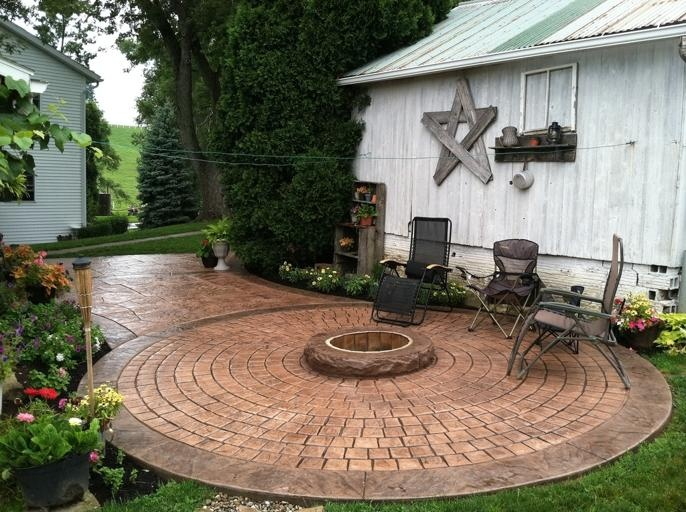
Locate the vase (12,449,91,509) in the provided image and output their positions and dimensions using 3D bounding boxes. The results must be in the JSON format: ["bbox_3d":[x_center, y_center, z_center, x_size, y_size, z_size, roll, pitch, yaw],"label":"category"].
[{"bbox_3d":[-2.154,1.602,3.788,0.430,0.279,0.426,-2,0,-44],"label":"vase"}]

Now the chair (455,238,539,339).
[{"bbox_3d":[2.477,0.417,7.620,1.063,1.295,1.114,-3,6,-34],"label":"chair"}]

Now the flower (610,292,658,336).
[{"bbox_3d":[3.809,0.726,6.555,0.543,0.396,0.526,3,18,6],"label":"flower"}]

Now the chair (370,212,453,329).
[{"bbox_3d":[1.142,0.201,8.486,1.263,1.529,1.164,-11,14,-37],"label":"chair"}]

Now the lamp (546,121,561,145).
[{"bbox_3d":[3.239,-1.755,7.649,0.209,0.311,0.147,1,12,10],"label":"lamp"}]
